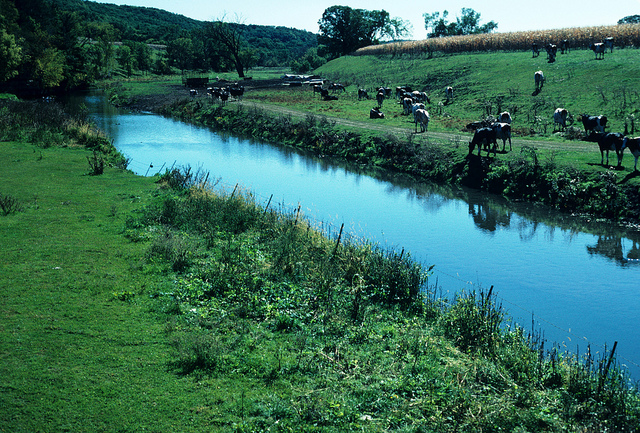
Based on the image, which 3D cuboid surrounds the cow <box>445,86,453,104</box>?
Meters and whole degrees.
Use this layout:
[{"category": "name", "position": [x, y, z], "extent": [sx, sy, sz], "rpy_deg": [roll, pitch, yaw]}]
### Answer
[{"category": "cow", "position": [15.665, -14.657, 76.578], "extent": [0.802, 2.088, 3.075], "rpy_deg": [5, 9, 11]}]

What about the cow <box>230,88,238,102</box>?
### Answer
[{"category": "cow", "position": [-12.606, -17.794, 92.528], "extent": [0.994, 1.754, 3.221], "rpy_deg": [2, 10, -11]}]

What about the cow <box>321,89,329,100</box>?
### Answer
[{"category": "cow", "position": [0.617, -17.656, 91.581], "extent": [0.935, 1.495, 1.986], "rpy_deg": [3, 9, 0]}]

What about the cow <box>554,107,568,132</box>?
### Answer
[{"category": "cow", "position": [22.144, -8.904, 58.459], "extent": [1.083, 2.085, 1.841], "rpy_deg": [6, 9, 19]}]

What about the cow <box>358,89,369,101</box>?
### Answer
[{"category": "cow", "position": [6.193, -17.327, 90.251], "extent": [1.361, 1.549, 3.256], "rpy_deg": [6, 10, 15]}]

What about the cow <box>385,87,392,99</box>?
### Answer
[{"category": "cow", "position": [9.770, -17.555, 89.902], "extent": [0.942, 1.328, 3.320], "rpy_deg": [5, 10, 10]}]

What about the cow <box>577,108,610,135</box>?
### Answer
[{"category": "cow", "position": [23.730, -7.894, 54.722], "extent": [1.086, 1.587, 1.999], "rpy_deg": [-2, 11, -33]}]

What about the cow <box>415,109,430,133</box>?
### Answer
[{"category": "cow", "position": [9.938, -9.411, 62.358], "extent": [1.288, 2.238, 2.742], "rpy_deg": [4, 9, 7]}]

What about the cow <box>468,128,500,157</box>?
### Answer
[{"category": "cow", "position": [13.769, -6.226, 52.855], "extent": [2.027, 2.324, 2.565], "rpy_deg": [9, 11, 32]}]

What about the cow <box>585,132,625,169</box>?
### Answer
[{"category": "cow", "position": [21.715, -5.228, 48.038], "extent": [0.902, 2.523, 3.659], "rpy_deg": [-1, 7, -25]}]

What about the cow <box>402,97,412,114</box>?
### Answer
[{"category": "cow", "position": [10.113, -12.771, 73.156], "extent": [0.947, 1.813, 2.327], "rpy_deg": [4, 9, 7]}]

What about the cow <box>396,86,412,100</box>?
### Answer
[{"category": "cow", "position": [11.148, -17.013, 84.978], "extent": [0.942, 1.390, 2.540], "rpy_deg": [15, 35, 26]}]

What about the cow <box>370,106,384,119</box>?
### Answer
[{"category": "cow", "position": [6.481, -11.602, 71.447], "extent": [0.940, 1.052, 1.523], "rpy_deg": [1, 0, 43]}]

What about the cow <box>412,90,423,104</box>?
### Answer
[{"category": "cow", "position": [11.757, -14.711, 76.538], "extent": [0.571, 1.235, 2.392], "rpy_deg": [-23, 31, 25]}]

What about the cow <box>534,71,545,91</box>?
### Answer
[{"category": "cow", "position": [23.737, -14.667, 68.599], "extent": [0.934, 2.141, 2.314], "rpy_deg": [6, 9, 19]}]
